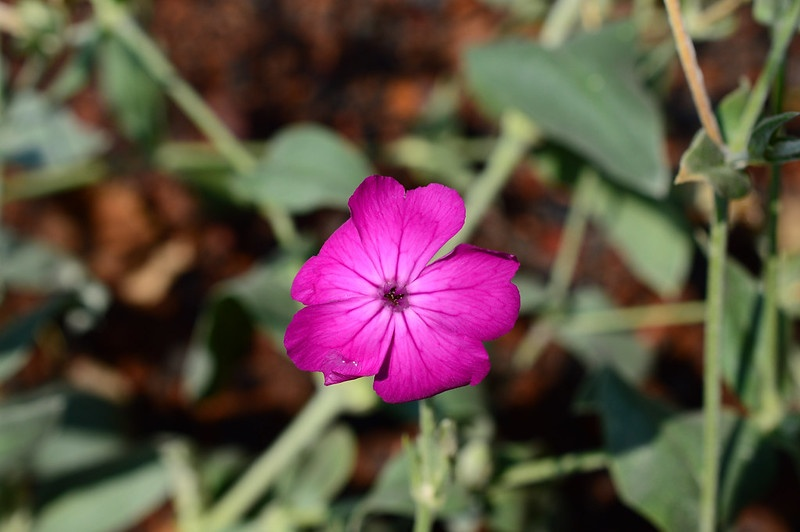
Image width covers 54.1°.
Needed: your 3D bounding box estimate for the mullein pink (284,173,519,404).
[{"bbox_3d":[0.006,0.048,0.982,0.260,0.078,0.289,39,80,7],"label":"mullein pink"}]
